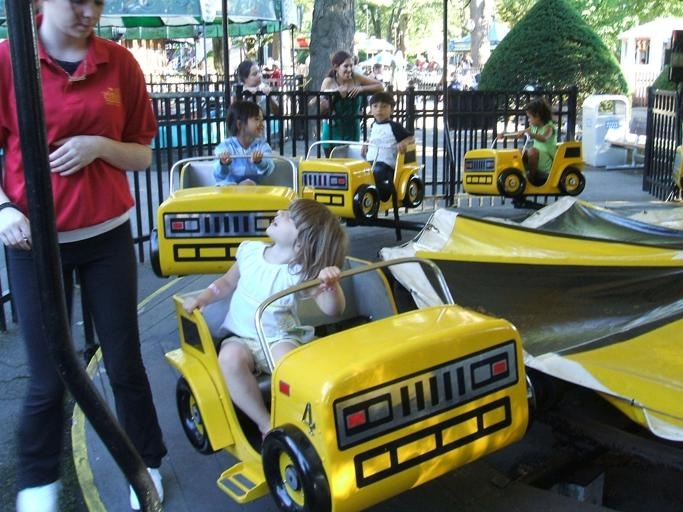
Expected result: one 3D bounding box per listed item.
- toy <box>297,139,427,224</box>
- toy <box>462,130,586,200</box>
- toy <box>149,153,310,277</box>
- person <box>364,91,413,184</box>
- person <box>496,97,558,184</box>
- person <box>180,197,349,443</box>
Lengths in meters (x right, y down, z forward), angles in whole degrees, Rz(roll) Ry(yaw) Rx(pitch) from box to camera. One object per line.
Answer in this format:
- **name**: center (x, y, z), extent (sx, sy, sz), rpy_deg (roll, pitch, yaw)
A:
- **toy**: center (0.187, -0.767, 5.532), extent (0.854, 0.747, 1.284), rpy_deg (7, 15, 36)
- **toy**: center (2.128, -1.006, 6.597), extent (1.166, 0.757, 0.943), rpy_deg (0, 5, -20)
- **toy**: center (-0.739, -0.251, 3.869), extent (0.982, 0.935, 1.392), rpy_deg (0, 6, -5)
- **person**: center (0.370, -1.100, 5.484), extent (0.509, 0.987, 0.556), rpy_deg (6, 14, 26)
- **person**: center (2.199, -1.308, 6.545), extent (0.455, 0.992, 0.508), rpy_deg (-1, 10, -14)
- **person**: center (-0.283, 0.291, 2.370), extent (0.601, 1.062, 0.530), rpy_deg (6, 1, 19)
